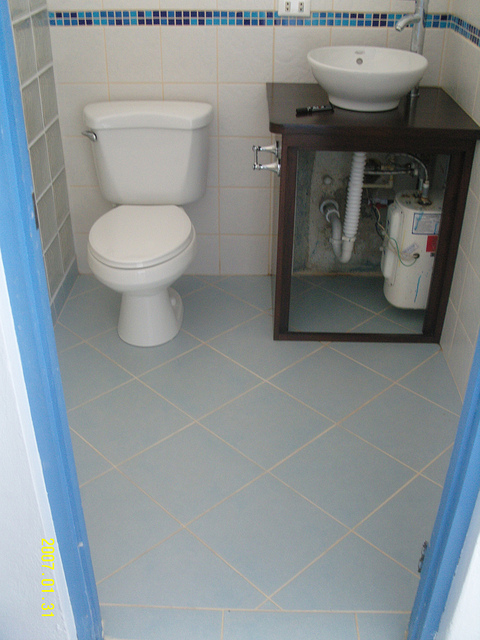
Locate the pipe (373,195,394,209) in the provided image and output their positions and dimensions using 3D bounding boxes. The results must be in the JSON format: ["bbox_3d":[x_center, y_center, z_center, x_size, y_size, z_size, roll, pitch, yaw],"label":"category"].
[{"bbox_3d":[0.668,-0.545,2.189,0.075,0.061,0.034,1,-8,1],"label":"pipe"}]

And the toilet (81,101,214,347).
[{"bbox_3d":[-0.400,-0.380,1.979,0.388,0.853,0.746,1,30,-2],"label":"toilet"}]

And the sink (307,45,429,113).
[{"bbox_3d":[0.489,-0.826,1.736,0.265,0.125,0.290,-23,24,-17],"label":"sink"}]

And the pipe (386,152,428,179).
[{"bbox_3d":[0.722,-0.687,2.056,0.172,0.138,0.055,30,20,32],"label":"pipe"}]

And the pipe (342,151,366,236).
[{"bbox_3d":[0.498,-0.528,2.051,0.055,0.423,0.086,2,19,1],"label":"pipe"}]

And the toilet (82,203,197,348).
[{"bbox_3d":[-0.392,-0.165,1.995,0.413,0.474,0.521,1,31,0],"label":"toilet"}]
